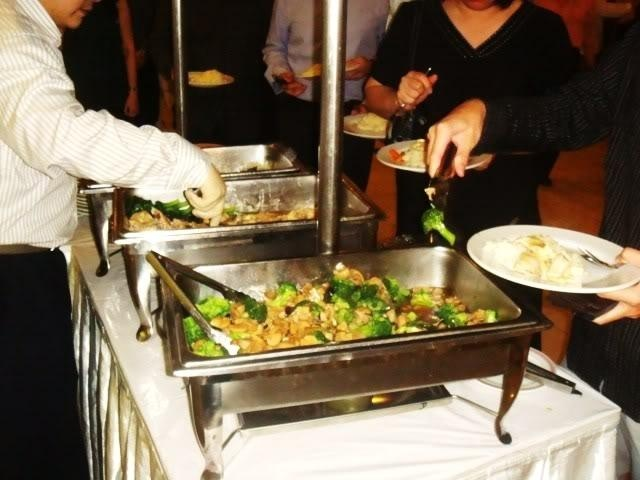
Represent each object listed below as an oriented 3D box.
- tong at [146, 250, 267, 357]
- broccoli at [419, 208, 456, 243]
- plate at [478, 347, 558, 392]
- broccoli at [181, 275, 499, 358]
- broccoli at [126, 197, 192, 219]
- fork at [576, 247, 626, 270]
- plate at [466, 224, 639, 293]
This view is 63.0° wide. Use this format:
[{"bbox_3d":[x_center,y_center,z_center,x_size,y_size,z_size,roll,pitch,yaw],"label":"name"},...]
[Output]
[{"bbox_3d":[-0.312,0.184,1.655,0.270,0.177,0.534,-18,32,-32],"label":"tong"},{"bbox_3d":[0.443,-0.051,1.996,0.145,0.121,0.069,26,-5,10],"label":"broccoli"},{"bbox_3d":[0.681,0.476,1.822,0.227,0.025,0.220,2,16,-10],"label":"plate"},{"bbox_3d":[0.054,0.242,1.699,0.721,0.141,0.360,-6,28,-8],"label":"broccoli"},{"bbox_3d":[-0.733,-0.143,2.404,0.190,0.051,0.122,-2,18,-26],"label":"broccoli"},{"bbox_3d":[0.897,0.062,1.655,0.015,0.017,0.114,-36,47,-23],"label":"fork"},{"bbox_3d":[0.721,0.062,1.648,0.328,0.043,0.313,-1,32,-5],"label":"plate"}]
